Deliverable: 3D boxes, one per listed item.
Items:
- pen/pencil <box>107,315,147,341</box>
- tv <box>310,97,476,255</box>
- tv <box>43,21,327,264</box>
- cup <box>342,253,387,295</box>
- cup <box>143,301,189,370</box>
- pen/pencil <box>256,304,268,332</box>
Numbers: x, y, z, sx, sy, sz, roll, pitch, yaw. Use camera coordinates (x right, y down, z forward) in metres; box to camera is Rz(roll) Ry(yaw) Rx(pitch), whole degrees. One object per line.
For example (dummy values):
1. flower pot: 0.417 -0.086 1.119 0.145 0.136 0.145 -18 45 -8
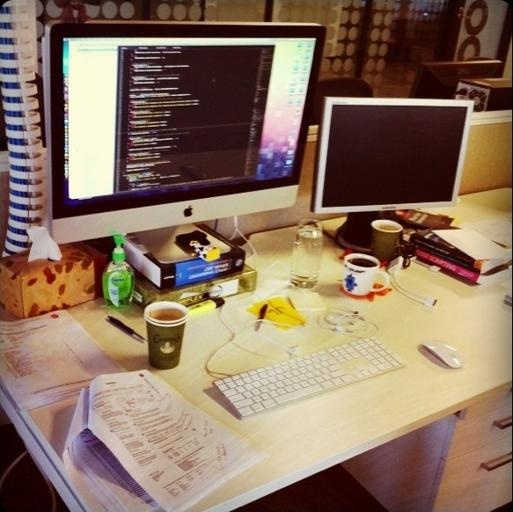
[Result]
1. pen/pencil: -0.277 0.154 0.921 0.140 0.018 0.019 25 27 31
2. tv: 0.405 -0.240 1.318 0.549 0.463 0.194 -7 33 -23
3. tv: -0.162 -0.248 0.933 0.763 0.493 0.065 -10 39 -31
4. cup: 0.276 0.049 1.184 0.088 0.088 0.135 -27 39 -35
5. cup: -0.172 0.152 0.814 0.098 0.101 0.097 5 20 -2
6. pen/pencil: 0.010 0.142 1.013 0.013 0.009 0.084 7 28 9
